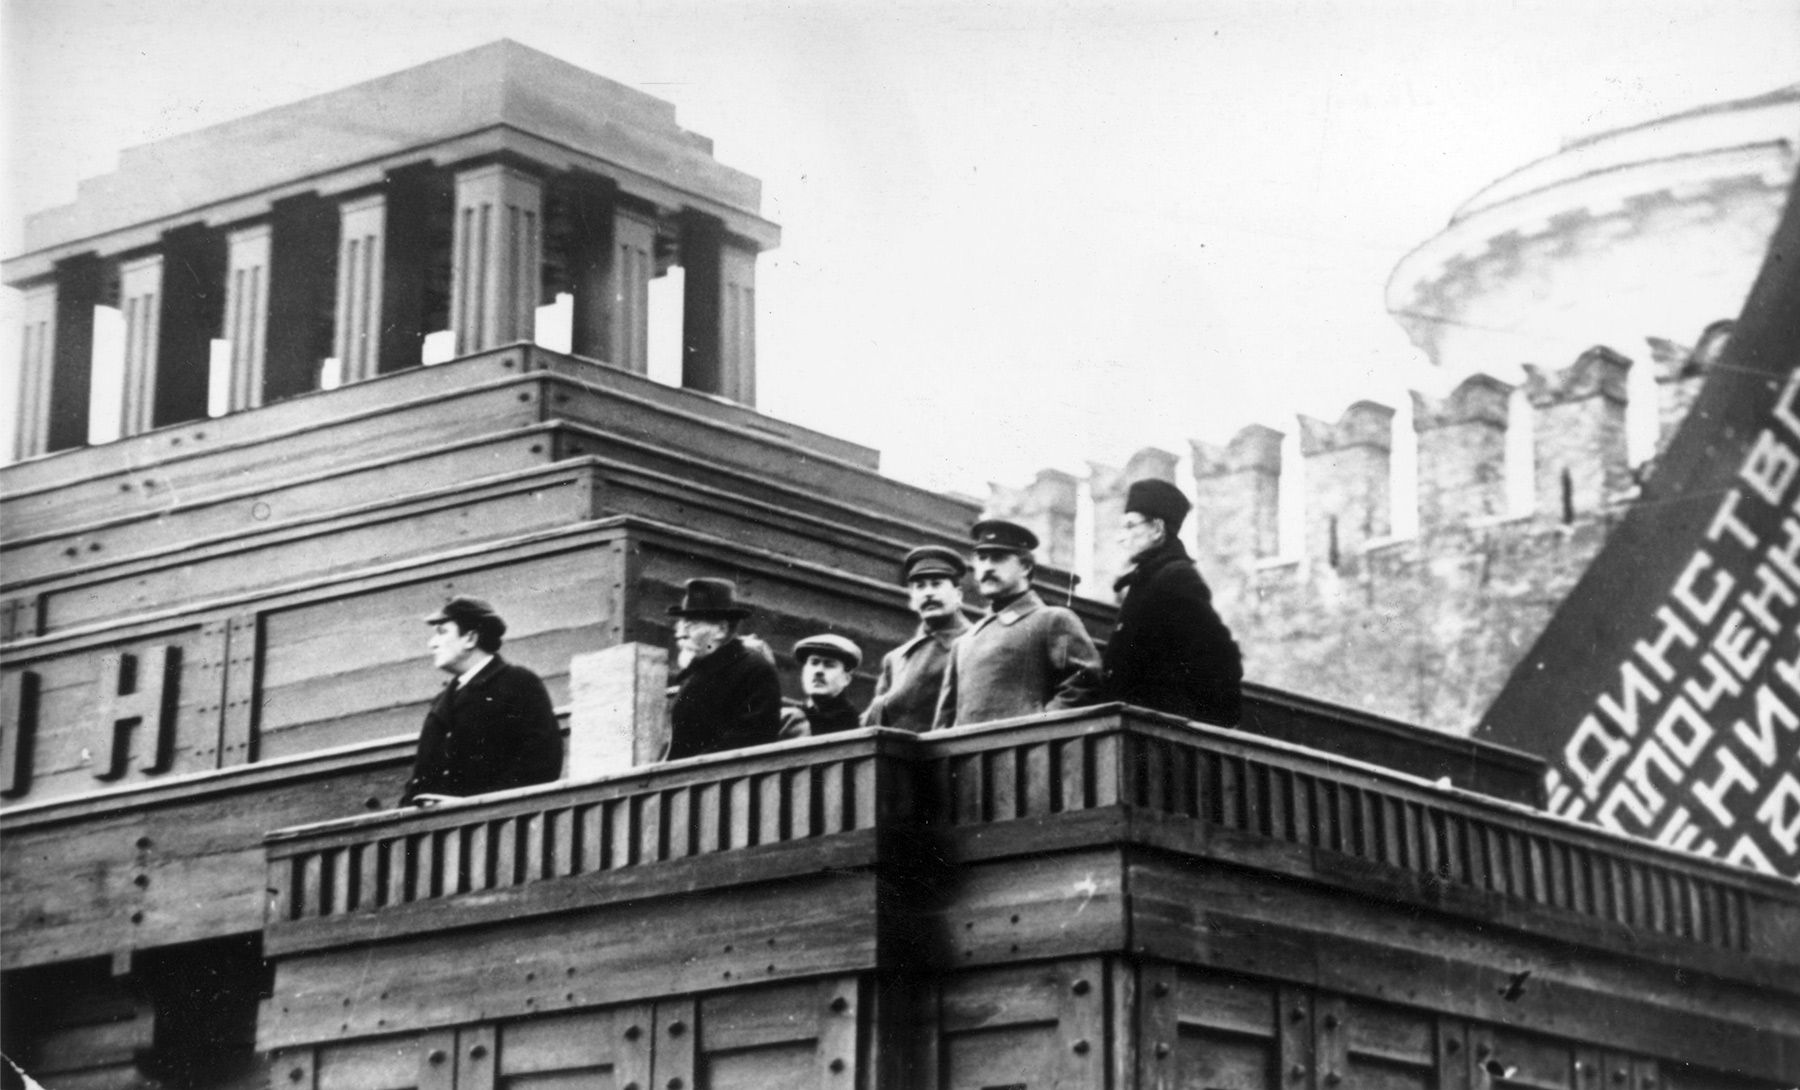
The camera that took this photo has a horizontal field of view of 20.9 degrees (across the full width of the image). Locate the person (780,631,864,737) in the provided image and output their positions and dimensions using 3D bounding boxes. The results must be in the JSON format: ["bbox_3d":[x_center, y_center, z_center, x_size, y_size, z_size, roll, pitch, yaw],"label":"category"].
[{"bbox_3d":[-0.453,1.025,33.072,0.415,0.985,0.568,-2,-36,-1],"label":"person"}]

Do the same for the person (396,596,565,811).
[{"bbox_3d":[-2.834,1.164,33.923,1.309,1.385,0.932,-21,-30,41],"label":"person"}]

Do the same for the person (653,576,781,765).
[{"bbox_3d":[-1.171,0.844,33.135,0.783,1.508,0.844,-1,-36,-2],"label":"person"}]

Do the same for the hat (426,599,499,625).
[{"bbox_3d":[-2.997,0.470,33.651,0.399,0.110,0.250,-1,-5,11],"label":"hat"}]

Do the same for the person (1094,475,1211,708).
[{"bbox_3d":[1.744,0.207,32.464,0.751,2.058,0.939,2,-37,-5],"label":"person"}]
